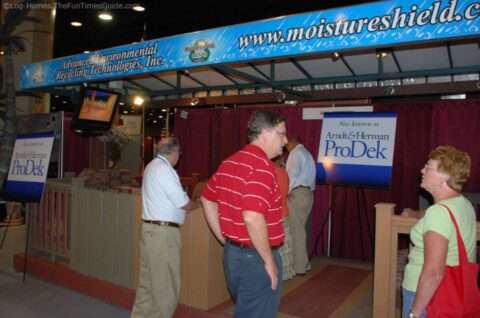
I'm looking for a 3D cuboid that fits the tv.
[{"bbox_3d":[-3.184,-1.055,8.092,0.838,1.006,1.000,18,4,40],"label":"tv"}]

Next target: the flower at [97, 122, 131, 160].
[{"bbox_3d":[-2.722,-0.366,7.852,0.720,0.784,0.747,4,-2,3],"label":"flower"}]

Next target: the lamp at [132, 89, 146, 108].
[{"bbox_3d":[-2.498,-1.475,8.870,0.308,0.321,0.567,17,-1,-17],"label":"lamp"}]

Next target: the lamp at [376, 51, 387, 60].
[{"bbox_3d":[2.354,-1.719,6.125,0.152,0.232,0.125,0,-5,-1],"label":"lamp"}]

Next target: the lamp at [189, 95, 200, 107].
[{"bbox_3d":[-1.056,-1.350,8.591,0.166,0.227,0.064,7,1,22],"label":"lamp"}]

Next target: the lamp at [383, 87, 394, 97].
[{"bbox_3d":[2.820,-1.276,6.961,0.177,0.161,0.065,2,7,3],"label":"lamp"}]

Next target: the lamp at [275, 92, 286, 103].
[{"bbox_3d":[0.852,-1.294,7.797,0.055,0.199,0.209,5,5,-22],"label":"lamp"}]
